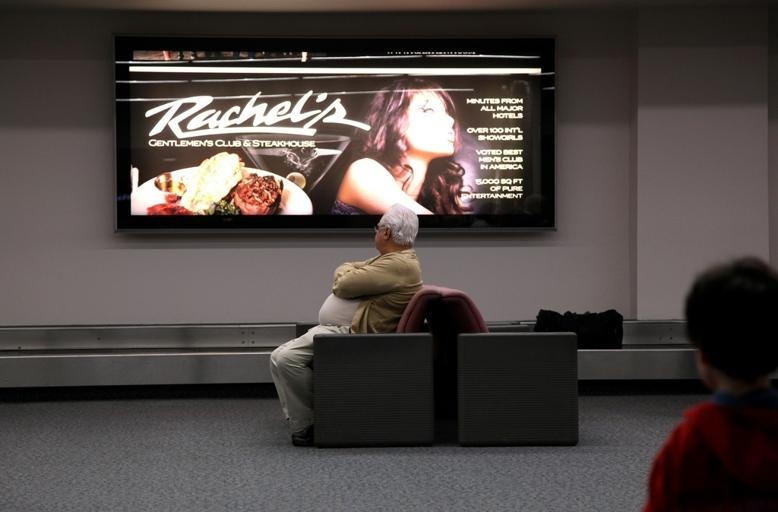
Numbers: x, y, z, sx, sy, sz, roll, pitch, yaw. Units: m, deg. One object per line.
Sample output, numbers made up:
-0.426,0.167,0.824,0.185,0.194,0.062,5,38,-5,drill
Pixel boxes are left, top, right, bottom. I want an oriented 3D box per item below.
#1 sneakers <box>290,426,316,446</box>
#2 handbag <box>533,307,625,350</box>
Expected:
-0.585,1.270,5.044,0.166,0.151,0.097,3,-10,6,sneakers
1.720,0.621,6.166,0.632,0.222,0.641,-5,8,0,handbag
